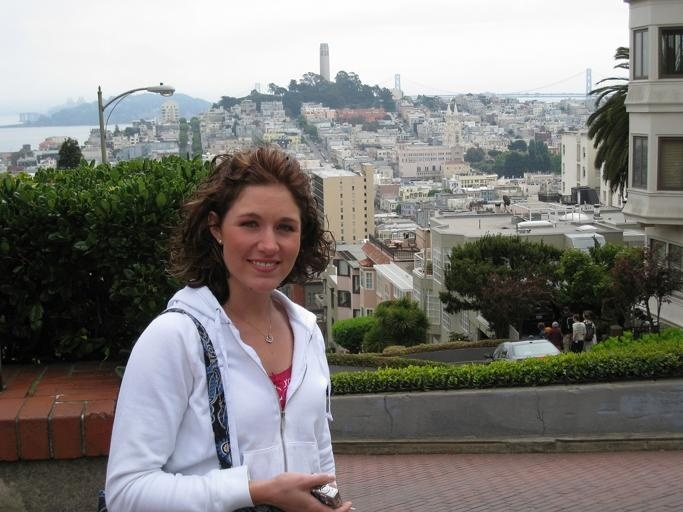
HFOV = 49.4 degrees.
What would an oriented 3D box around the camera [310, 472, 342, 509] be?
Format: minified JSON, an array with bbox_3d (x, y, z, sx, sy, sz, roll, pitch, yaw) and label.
[{"bbox_3d":[-0.035,0.889,2.740,0.145,0.137,0.087,-4,23,11],"label":"camera"}]

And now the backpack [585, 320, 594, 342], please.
[{"bbox_3d":[5.555,1.712,16.719,0.295,0.394,0.400,3,-2,10],"label":"backpack"}]

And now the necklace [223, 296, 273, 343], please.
[{"bbox_3d":[-0.375,0.251,2.885,0.132,0.171,0.089,10,-30,-38],"label":"necklace"}]
